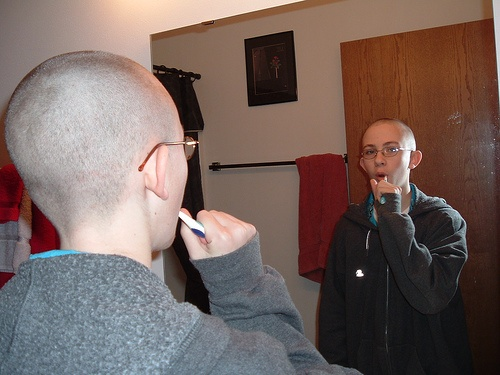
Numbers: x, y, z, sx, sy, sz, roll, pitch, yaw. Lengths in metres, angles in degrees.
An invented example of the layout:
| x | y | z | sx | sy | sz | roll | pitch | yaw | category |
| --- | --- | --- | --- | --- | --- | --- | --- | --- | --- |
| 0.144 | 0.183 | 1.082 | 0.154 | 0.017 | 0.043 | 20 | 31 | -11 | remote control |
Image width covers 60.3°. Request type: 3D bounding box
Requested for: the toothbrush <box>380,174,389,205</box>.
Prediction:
| x | y | z | sx | sy | sz | roll | pitch | yaw | category |
| --- | --- | --- | --- | --- | --- | --- | --- | --- | --- |
| 0.356 | 0.000 | 1.136 | 0.018 | 0.071 | 0.019 | 8 | -6 | -29 | toothbrush |

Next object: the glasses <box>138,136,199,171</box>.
| x | y | z | sx | sy | sz | roll | pitch | yaw | category |
| --- | --- | --- | --- | --- | --- | --- | --- | --- | --- |
| -0.154 | -0.065 | 0.798 | 0.084 | 0.029 | 0.085 | -24 | 14 | -22 | glasses |
